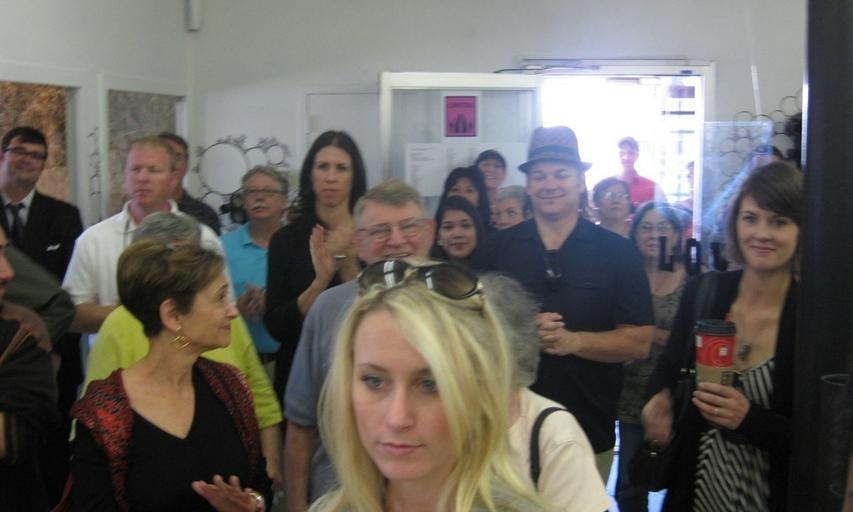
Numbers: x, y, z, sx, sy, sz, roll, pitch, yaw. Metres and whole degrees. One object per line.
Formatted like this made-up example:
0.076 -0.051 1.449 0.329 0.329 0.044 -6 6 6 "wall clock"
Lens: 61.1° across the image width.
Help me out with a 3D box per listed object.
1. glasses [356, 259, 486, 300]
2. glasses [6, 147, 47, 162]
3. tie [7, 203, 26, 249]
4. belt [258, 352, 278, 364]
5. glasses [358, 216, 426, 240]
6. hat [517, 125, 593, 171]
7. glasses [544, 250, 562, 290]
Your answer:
-0.023 0.068 2.155 0.371 0.113 0.077 0 8 1 "glasses"
-1.633 -0.422 2.970 0.105 0.034 0.096 4 -23 -15 "glasses"
-1.678 -0.129 2.958 0.058 0.199 0.034 -1 -2 -4 "tie"
-0.636 0.405 2.896 0.061 0.036 0.055 -1 -4 11 "belt"
-0.138 -0.104 2.795 0.254 0.089 0.070 -1 8 -3 "glasses"
0.528 -0.428 2.926 0.234 0.096 0.196 -3 2 -4 "hat"
0.521 0.057 3.008 0.108 0.139 0.050 5 0 -6 "glasses"
